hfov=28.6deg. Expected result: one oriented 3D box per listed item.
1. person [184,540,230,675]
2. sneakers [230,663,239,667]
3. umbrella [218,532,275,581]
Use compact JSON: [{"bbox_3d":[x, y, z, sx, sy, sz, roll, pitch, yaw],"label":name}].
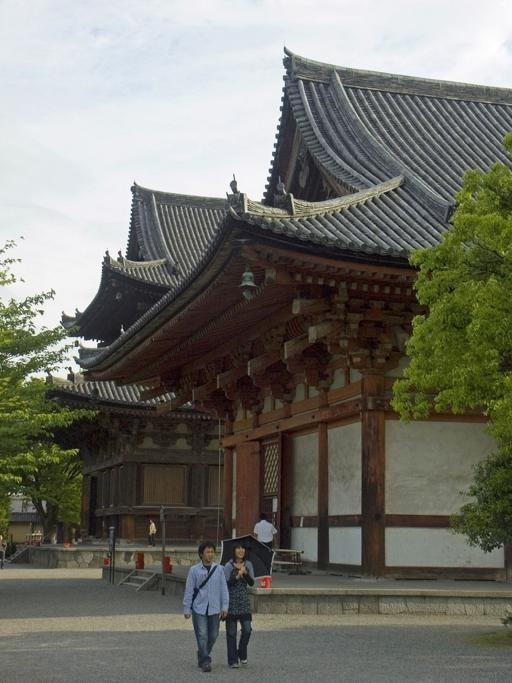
[{"bbox_3d":[-0.473,2.544,9.650,0.417,1.178,0.488,1,-10,-2],"label":"person"},{"bbox_3d":[-0.206,3.113,9.664,0.083,0.042,0.131,1,-10,-1],"label":"sneakers"},{"bbox_3d":[-0.043,2.575,12.037,0.504,0.191,0.557,14,22,-14],"label":"umbrella"}]
